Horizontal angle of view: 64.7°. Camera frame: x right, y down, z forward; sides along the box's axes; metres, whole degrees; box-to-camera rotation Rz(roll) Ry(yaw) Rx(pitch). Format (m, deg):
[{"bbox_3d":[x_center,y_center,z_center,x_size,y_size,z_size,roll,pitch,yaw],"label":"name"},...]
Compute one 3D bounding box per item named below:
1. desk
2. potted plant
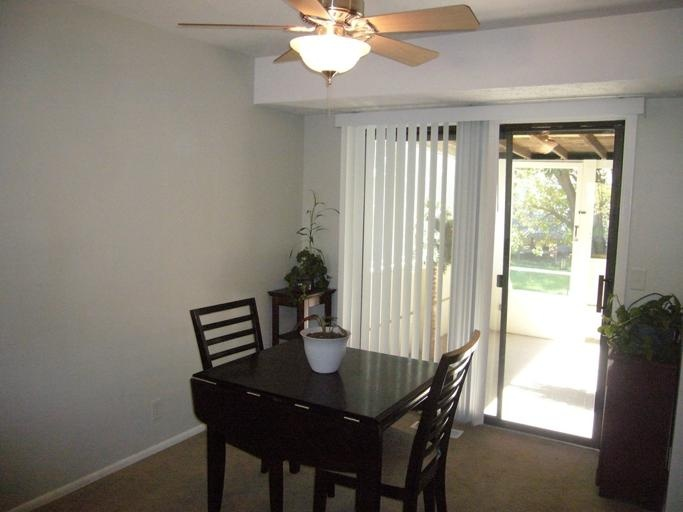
[{"bbox_3d":[-0.373,0.646,5.061,0.419,0.685,0.516,4,7,28],"label":"desk"},{"bbox_3d":[-0.341,-0.127,5.042,0.425,0.920,0.535,5,9,29],"label":"potted plant"}]
